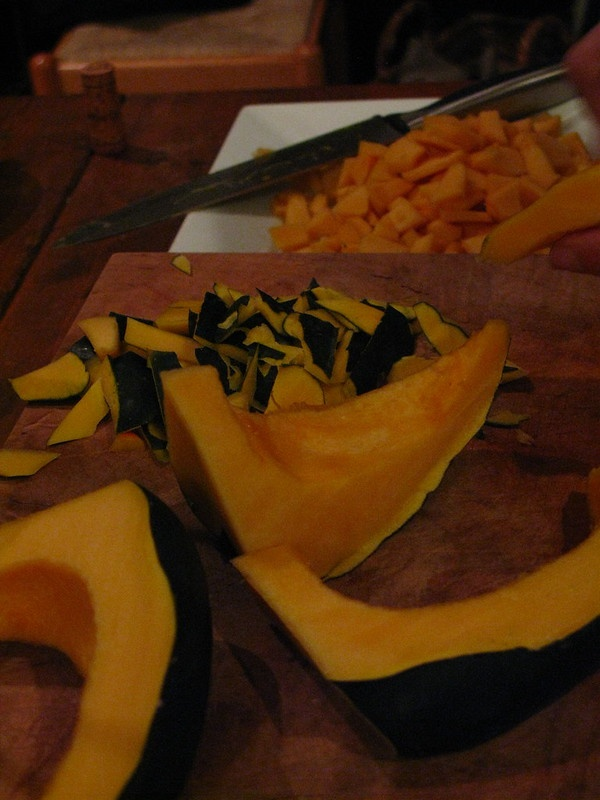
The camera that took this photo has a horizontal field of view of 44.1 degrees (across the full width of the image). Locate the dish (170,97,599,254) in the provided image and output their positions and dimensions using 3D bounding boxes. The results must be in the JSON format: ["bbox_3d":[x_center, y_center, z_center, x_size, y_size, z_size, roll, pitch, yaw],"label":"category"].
[{"bbox_3d":[0.166,-0.455,1.500,0.557,0.073,0.532,11,47,28],"label":"dish"}]

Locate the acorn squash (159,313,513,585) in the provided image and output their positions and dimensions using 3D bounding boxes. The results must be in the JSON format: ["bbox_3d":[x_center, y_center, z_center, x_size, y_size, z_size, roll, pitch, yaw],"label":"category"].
[{"bbox_3d":[0.065,0.039,0.706,0.324,0.149,0.190,-17,26,-21],"label":"acorn squash"}]
